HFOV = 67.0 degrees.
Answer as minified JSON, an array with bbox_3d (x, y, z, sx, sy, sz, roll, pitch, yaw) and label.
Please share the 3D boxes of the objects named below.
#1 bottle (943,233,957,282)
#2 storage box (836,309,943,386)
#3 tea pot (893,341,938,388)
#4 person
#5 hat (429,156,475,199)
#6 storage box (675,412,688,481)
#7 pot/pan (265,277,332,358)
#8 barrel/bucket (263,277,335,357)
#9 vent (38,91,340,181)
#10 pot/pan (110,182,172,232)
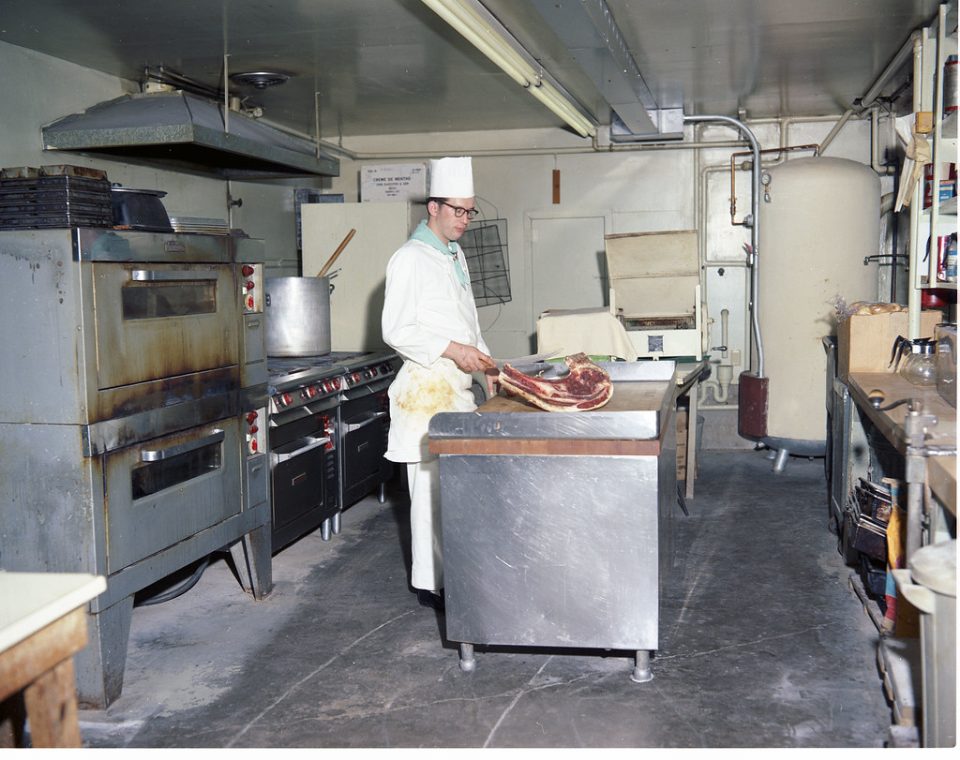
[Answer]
[{"bbox_3d":[2.211,-0.570,3.388,0.037,0.232,0.089,0,8,14],"label":"bottle"},{"bbox_3d":[2.299,-0.231,3.984,0.530,0.419,0.316,0,-13,1],"label":"storage box"},{"bbox_3d":[2.108,-0.093,3.517,0.227,0.232,0.228,-2,4,0],"label":"tea pot"},{"bbox_3d":[-0.191,0.027,3.229,0.465,2.045,0.546,-2,8,-9],"label":"person"},{"bbox_3d":[-0.134,-0.913,3.268,0.184,0.150,0.179,14,22,42],"label":"hat"},{"bbox_3d":[1.421,0.464,5.082,0.058,0.482,0.182,1,8,14],"label":"storage box"},{"bbox_3d":[-1.109,-0.393,4.727,0.464,0.544,0.477,0,3,-4],"label":"pot/pan"},{"bbox_3d":[-1.207,-0.432,4.839,0.445,0.522,0.454,1,9,0],"label":"barrel/bucket"},{"bbox_3d":[-1.544,-1.325,3.943,1.067,0.325,1.243,1,8,18],"label":"vent"},{"bbox_3d":[-1.330,-0.675,2.868,0.192,0.133,0.251,-2,14,-5],"label":"pot/pan"}]
